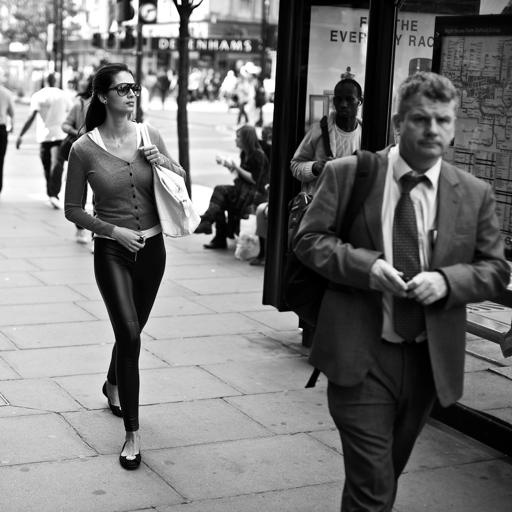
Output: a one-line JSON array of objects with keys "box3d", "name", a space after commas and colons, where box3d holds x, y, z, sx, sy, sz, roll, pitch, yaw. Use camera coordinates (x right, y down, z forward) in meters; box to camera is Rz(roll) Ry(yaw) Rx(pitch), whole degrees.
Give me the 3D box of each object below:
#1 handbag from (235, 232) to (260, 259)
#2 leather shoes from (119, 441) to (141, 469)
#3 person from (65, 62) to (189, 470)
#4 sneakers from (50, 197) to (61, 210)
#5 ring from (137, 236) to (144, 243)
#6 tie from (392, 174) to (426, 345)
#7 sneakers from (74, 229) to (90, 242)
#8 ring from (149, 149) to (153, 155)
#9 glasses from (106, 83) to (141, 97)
[{"box3d": [-0.133, -0.142, 8.889, 0.375, 0.443, 0.257, -4, 12, -18], "name": "handbag"}, {"box3d": [-0.675, 1.073, 3.183, 0.122, 0.122, 0.135, 2, 8, -4], "name": "leather shoes"}, {"box3d": [-0.732, -0.013, 3.422, 0.572, 2.184, 0.771, -3, 8, -39], "name": "person"}, {"box3d": [-4.094, -1.090, 12.213, 0.216, 0.258, 0.395, 0, 8, -20], "name": "sneakers"}, {"box3d": [-0.641, -0.089, 3.334, 0.023, 0.036, 0.029, -2, 10, -2], "name": "ring"}, {"box3d": [0.479, 0.006, 1.847, 0.115, 0.522, 0.090, 4, 7, 17], "name": "tie"}, {"box3d": [-2.749, -0.321, 9.557, 0.215, 0.264, 0.225, 14, 15, 33], "name": "sneakers"}, {"box3d": [-0.599, -0.597, 3.418, 0.019, 0.022, 0.020, -8, 3, 0], "name": "ring"}, {"box3d": [-0.733, -0.969, 3.484, 0.116, 0.089, 0.259, 6, 9, 24], "name": "glasses"}]
